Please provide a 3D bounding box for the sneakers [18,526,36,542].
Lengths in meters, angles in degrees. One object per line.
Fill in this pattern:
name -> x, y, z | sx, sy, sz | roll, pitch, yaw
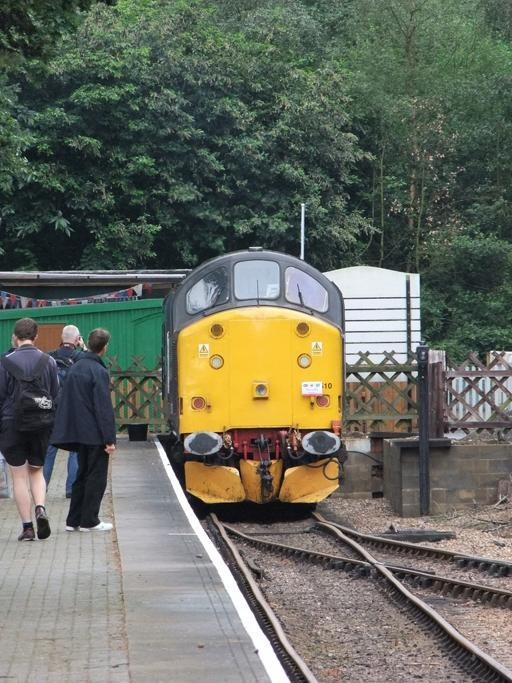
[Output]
sneakers -> -1.948, 1.626, 8.309 | 0.078, 0.088, 0.212 | 1, 0, -9

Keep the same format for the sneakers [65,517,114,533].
sneakers -> -1.507, 1.656, 8.841 | 0.387, 0.142, 0.137 | -2, -2, -3

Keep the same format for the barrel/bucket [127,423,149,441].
barrel/bucket -> -2.020, 1.538, 16.690 | 0.344, 0.237, 0.283 | 1, -6, -8

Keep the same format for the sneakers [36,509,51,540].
sneakers -> -1.773, 1.518, 8.192 | 0.119, 0.289, 0.125 | -2, 26, -6
